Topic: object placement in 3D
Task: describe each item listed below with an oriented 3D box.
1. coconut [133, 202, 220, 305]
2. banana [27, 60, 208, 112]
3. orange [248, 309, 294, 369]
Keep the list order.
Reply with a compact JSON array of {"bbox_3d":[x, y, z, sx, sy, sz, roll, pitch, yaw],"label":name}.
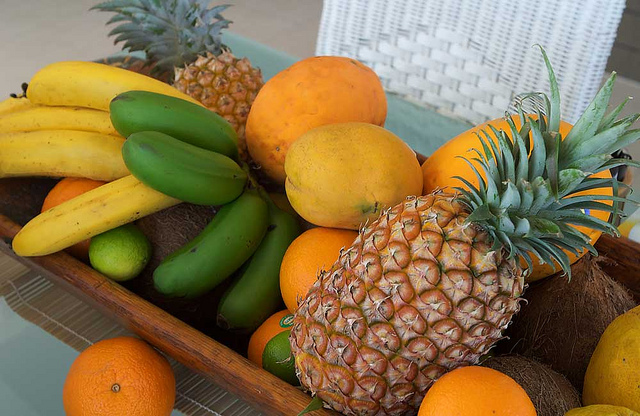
[{"bbox_3d":[-0.331,0.088,1.529,0.167,0.087,0.310,17,50,-20],"label":"coconut"},{"bbox_3d":[-0.530,-0.323,1.606,0.523,0.129,0.117,8,34,3],"label":"banana"},{"bbox_3d":[-0.122,0.309,1.523,0.158,0.118,0.120,-6,25,-8],"label":"orange"}]
